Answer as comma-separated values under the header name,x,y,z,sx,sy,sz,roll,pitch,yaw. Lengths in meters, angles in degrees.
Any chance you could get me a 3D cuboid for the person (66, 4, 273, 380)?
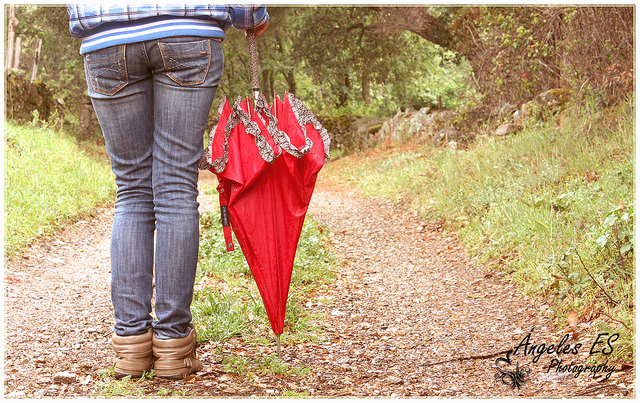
name,x,y,z,sx,sy,sz,roll,pitch,yaw
person,-1.385,-0.108,5.785,1.390,3.355,1.033,-2,16,-20
